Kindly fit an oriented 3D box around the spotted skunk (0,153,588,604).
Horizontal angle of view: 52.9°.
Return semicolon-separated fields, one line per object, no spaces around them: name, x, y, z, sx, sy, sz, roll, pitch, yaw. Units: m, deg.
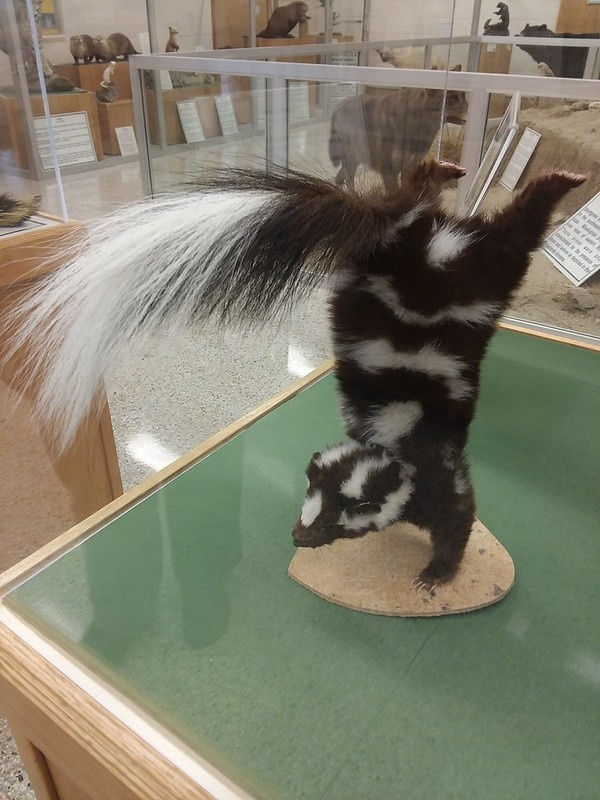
spotted skunk;-0.013;-0.004;0.498;0.403;0.354;0.149;-5;30;-8

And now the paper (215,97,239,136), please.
paper;-0.264;-0.990;2.101;0.078;0.122;0.027;-2;31;11
